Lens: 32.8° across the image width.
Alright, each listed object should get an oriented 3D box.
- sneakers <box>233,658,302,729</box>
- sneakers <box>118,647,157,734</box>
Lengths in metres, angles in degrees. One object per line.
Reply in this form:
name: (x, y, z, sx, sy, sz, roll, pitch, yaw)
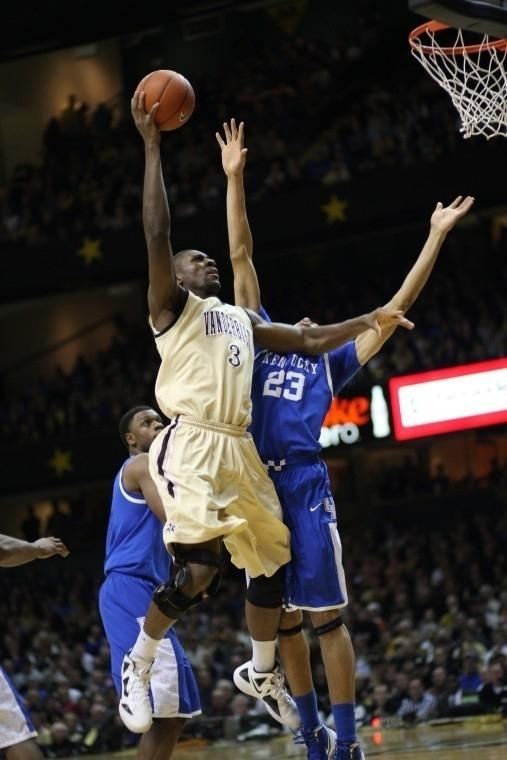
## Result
sneakers: (0.064, 1.445, 3.875, 0.247, 0.345, 0.255, -11, 0, -3)
sneakers: (-0.447, 1.151, 3.161, 0.111, 0.313, 0.141, 8, -34, -26)
